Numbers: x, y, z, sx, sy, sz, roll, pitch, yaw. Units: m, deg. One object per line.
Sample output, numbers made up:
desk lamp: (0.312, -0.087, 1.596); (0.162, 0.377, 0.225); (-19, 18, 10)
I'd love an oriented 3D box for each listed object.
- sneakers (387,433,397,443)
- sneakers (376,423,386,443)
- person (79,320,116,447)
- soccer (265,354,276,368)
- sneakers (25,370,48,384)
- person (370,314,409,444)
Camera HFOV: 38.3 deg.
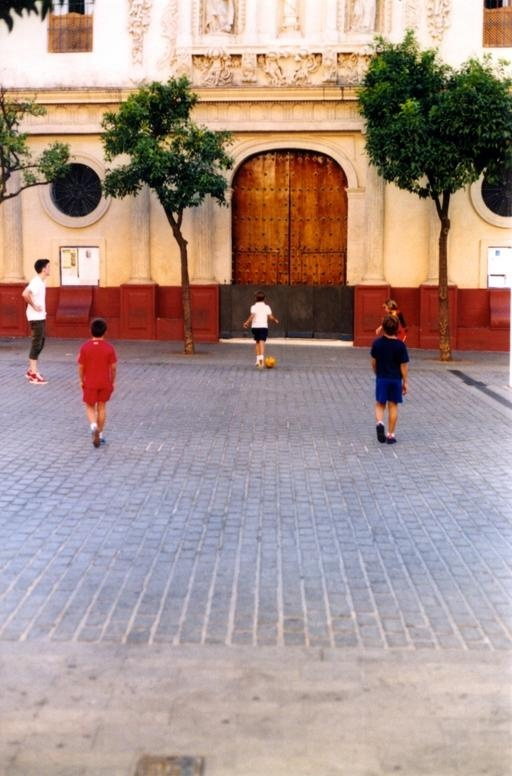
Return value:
sneakers: (1.612, 0.607, 8.782); (0.088, 0.114, 0.244); (-1, -1, 10)
sneakers: (1.481, 0.560, 8.735); (0.084, 0.259, 0.102); (0, 17, 5)
person: (-1.859, -0.082, 8.661); (0.396, 1.476, 1.062); (-2, 10, -12)
soccer: (0.324, -0.513, 15.612); (0.182, 0.246, 0.251); (7, 43, -2)
sneakers: (-3.856, -0.177, 12.975); (0.450, 0.243, 0.197); (6, 28, -3)
person: (1.600, -0.093, 8.810); (0.452, 1.504, 0.460); (-1, 9, -7)
